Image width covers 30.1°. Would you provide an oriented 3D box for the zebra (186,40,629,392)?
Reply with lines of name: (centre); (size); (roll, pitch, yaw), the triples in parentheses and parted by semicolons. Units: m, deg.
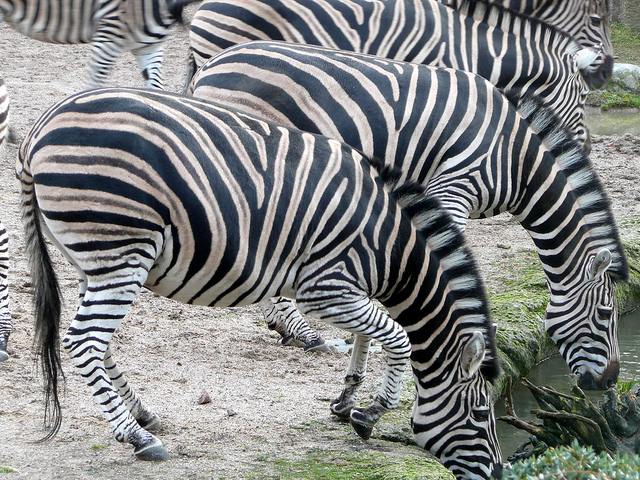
zebra: (0.504, -0.258, 9.743); (4.323, 2.269, 1.107); (14, -10, -7)
